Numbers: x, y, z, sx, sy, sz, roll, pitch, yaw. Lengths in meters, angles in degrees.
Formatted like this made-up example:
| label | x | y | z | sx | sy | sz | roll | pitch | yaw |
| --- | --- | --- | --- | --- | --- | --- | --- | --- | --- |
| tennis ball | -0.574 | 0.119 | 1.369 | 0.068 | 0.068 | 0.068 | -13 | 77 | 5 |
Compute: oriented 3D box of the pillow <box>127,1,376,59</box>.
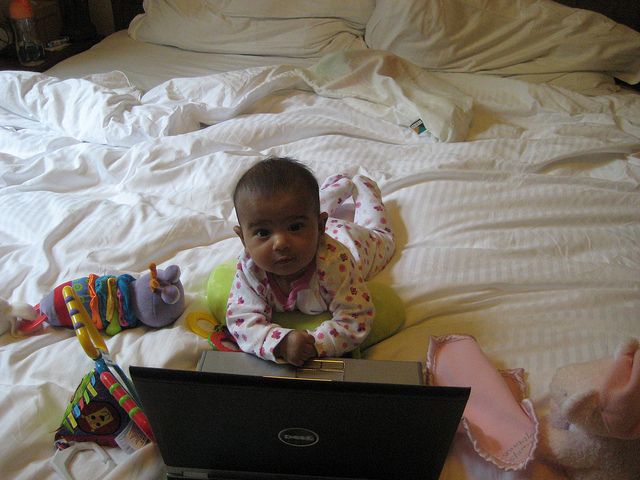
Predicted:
| label | x | y | z | sx | sy | sz | roll | pitch | yaw |
| --- | --- | --- | --- | --- | --- | --- | --- | --- | --- |
| pillow | -0.377 | -1.157 | 2.883 | 1.308 | 0.278 | 0.242 | 11 | 39 | 12 |

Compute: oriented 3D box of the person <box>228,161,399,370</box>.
| label | x | y | z | sx | sy | sz | roll | pitch | yaw |
| --- | --- | --- | --- | --- | --- | --- | --- | --- | --- |
| person | -0.019 | -0.057 | 1.770 | 0.416 | 0.524 | 1.055 | -4 | 21 | 16 |

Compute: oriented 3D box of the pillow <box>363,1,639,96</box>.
| label | x | y | z | sx | sy | sz | roll | pitch | yaw |
| --- | --- | --- | --- | --- | --- | --- | --- | --- | --- |
| pillow | 0.915 | -0.946 | 2.576 | 1.005 | 0.191 | 0.616 | 5 | 40 | 8 |

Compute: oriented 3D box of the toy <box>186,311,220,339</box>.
| label | x | y | z | sx | sy | sz | roll | pitch | yaw |
| --- | --- | --- | --- | --- | --- | --- | --- | --- | --- |
| toy | -0.346 | 0.241 | 1.563 | 0.088 | 0.040 | 0.090 | 15 | 40 | 18 |
